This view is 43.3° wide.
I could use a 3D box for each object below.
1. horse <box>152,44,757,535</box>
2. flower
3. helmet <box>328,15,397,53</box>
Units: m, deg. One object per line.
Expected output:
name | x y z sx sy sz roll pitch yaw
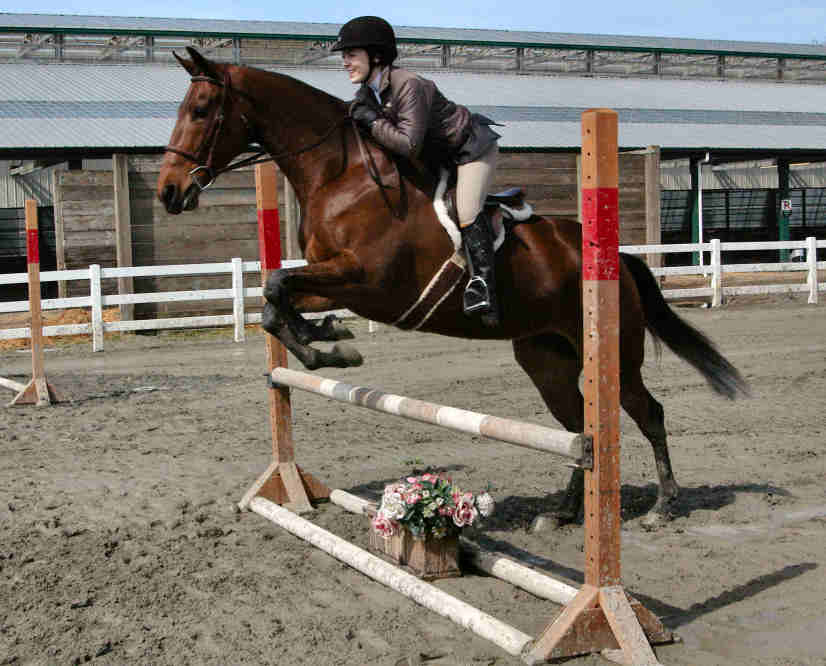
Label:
horse | 0.264 -0.156 5.504 3.470 1.912 0.754 11 -11 -16
flower | 0.068 0.824 5.214 0.461 0.219 0.431 6 18 -16
helmet | -0.229 -1.483 5.164 0.283 0.166 0.272 -1 7 -3
